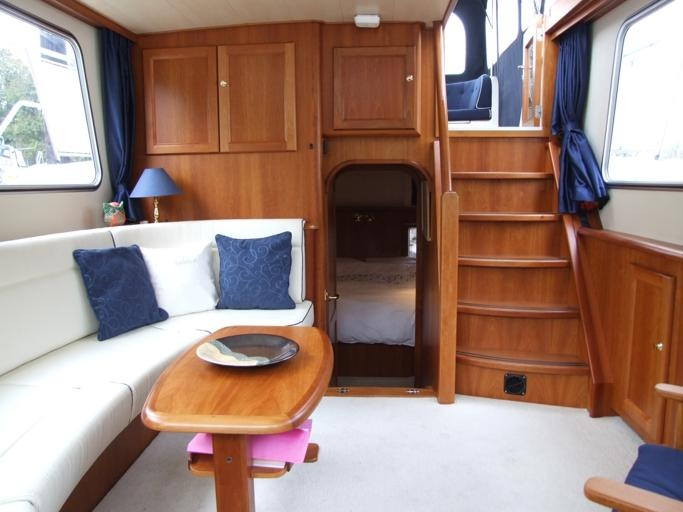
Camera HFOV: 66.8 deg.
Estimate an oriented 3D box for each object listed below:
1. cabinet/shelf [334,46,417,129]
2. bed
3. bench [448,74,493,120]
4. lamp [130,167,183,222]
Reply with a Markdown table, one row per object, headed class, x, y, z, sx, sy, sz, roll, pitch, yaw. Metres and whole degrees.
| class | x | y | z | sx | sy | sz | roll | pitch | yaw |
| --- | --- | --- | --- | --- | --- | --- | --- | --- | --- |
| cabinet/shelf | 0.273 | -1.283 | 4.009 | 0.605 | 0.614 | 0.228 | 1 | 21 | 6 |
| bed | 0.330 | 0.627 | 5.264 | 0.944 | 0.432 | 1.023 | 0 | 13 | 0 |
| bench | 1.219 | -1.490 | 4.974 | 0.381 | 0.391 | 0.674 | 2 | 13 | 10 |
| lamp | -1.443 | -0.458 | 3.994 | 0.355 | 0.437 | 0.394 | -7 | 14 | -24 |
